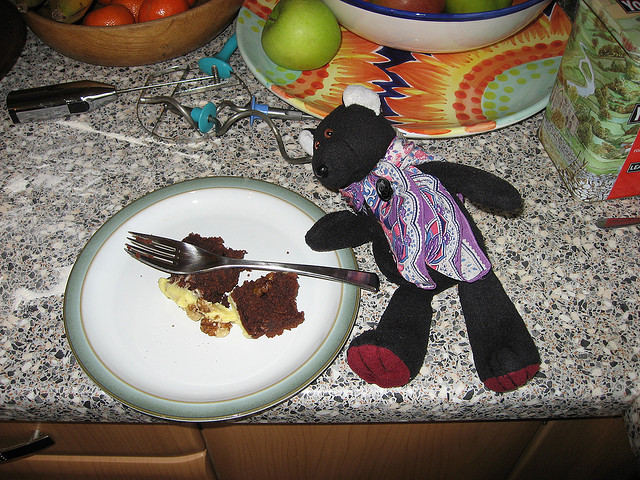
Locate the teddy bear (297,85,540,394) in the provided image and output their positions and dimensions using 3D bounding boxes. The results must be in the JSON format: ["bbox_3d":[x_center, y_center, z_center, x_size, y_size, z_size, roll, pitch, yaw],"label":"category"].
[{"bbox_3d":[0.116,-0.008,0.754,0.297,0.403,0.270,-9,44,37],"label":"teddy bear"}]

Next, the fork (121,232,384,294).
[{"bbox_3d":[-0.099,0.038,0.797,0.242,0.027,0.036,11,45,-7],"label":"fork"}]

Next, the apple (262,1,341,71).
[{"bbox_3d":[-0.039,-0.348,1.016,0.128,0.115,0.115,17,16,-20],"label":"apple"}]

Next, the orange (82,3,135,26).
[{"bbox_3d":[-0.380,-0.399,0.983,0.050,0.048,0.053,5,49,15],"label":"orange"}]

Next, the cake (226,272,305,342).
[{"bbox_3d":[-0.075,0.095,0.780,0.100,0.034,0.085,-15,78,-9],"label":"cake"}]

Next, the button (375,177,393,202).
[{"bbox_3d":[0.087,-0.065,0.723,0.020,0.017,0.031,-40,83,-14],"label":"button"}]
